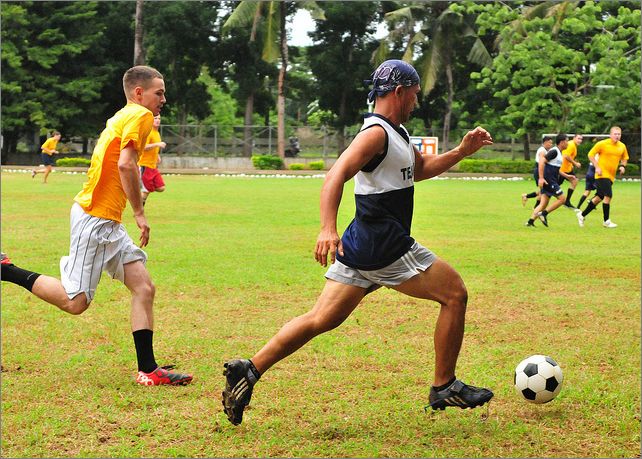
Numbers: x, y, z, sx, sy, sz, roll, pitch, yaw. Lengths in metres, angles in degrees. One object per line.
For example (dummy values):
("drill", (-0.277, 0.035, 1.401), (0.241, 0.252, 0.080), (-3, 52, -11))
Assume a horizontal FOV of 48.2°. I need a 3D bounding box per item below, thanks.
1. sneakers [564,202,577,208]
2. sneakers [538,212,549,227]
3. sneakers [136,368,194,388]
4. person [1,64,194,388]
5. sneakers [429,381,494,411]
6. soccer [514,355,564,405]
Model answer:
("sneakers", (5.988, -0.577, 17.191), (0.381, 0.159, 0.127), (4, 10, -15))
("sneakers", (4.478, -0.201, 14.561), (0.165, 0.307, 0.107), (-37, 12, -6))
("sneakers", (-1.421, 1.342, 6.571), (0.508, 0.174, 0.174), (-2, -8, -7))
("person", (-1.896, 0.125, 6.557), (1.498, 2.454, 0.828), (1, 14, 2))
("sneakers", (1.148, 1.375, 6.035), (0.619, 0.254, 0.204), (-3, -1, 1))
("soccer", (1.877, 1.314, 6.270), (0.449, 0.376, 0.415), (4, -3, 6))
